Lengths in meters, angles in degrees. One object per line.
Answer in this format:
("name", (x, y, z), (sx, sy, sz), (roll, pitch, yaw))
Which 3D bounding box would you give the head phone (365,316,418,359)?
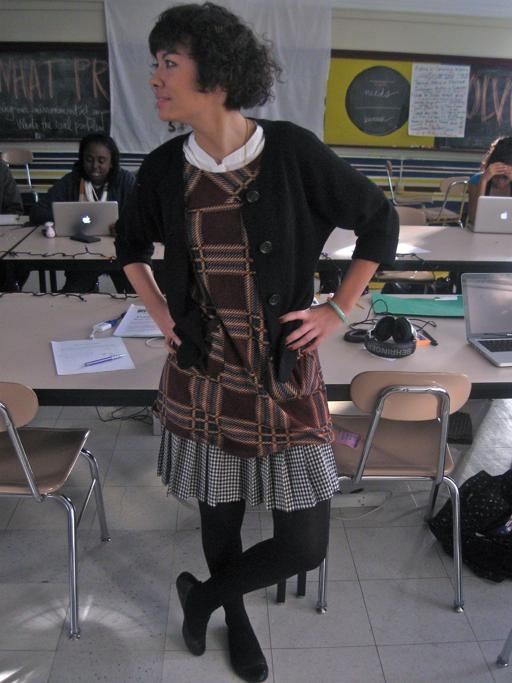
("head phone", (0.442, -0.020, 1.876), (0.140, 0.068, 0.136), (2, 56, 2))

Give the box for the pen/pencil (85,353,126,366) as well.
("pen/pencil", (-0.472, 0.057, 1.798), (0.122, 0.016, 0.016), (-11, -15, -41))

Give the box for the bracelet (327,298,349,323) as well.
("bracelet", (0.152, -0.065, 1.134), (0.012, 0.046, 0.044), (-44, 45, 2))

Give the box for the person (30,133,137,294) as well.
("person", (-1.114, -0.767, 4.022), (0.848, 1.257, 0.716), (-1, 19, -8))

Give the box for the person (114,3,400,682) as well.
("person", (-0.066, 0.126, 1.254), (0.546, 1.489, 0.314), (15, 31, 23))
